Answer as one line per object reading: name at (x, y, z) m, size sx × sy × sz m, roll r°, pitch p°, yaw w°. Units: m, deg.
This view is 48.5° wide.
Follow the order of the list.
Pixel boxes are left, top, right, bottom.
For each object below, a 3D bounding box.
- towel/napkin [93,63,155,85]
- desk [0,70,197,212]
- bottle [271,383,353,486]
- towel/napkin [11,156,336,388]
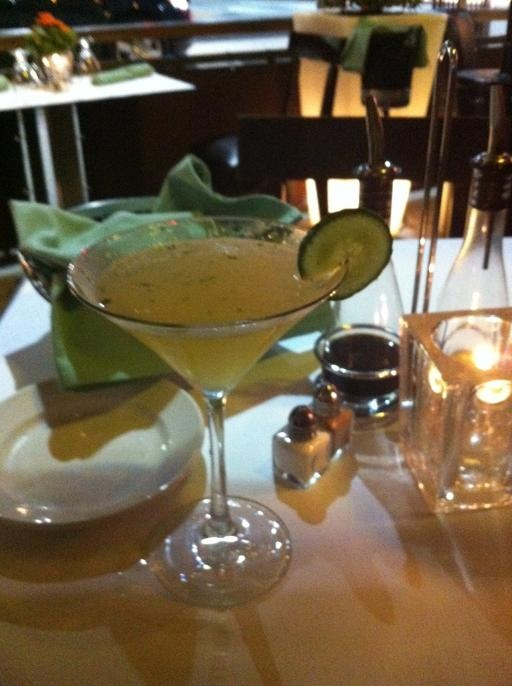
towel/napkin at (-0.539, -1.096, 2.309) m, size 0.237 × 0.049 × 0.134 m, roll -8°, pitch 11°, yaw -18°
desk at (-0.734, -0.957, 2.458) m, size 0.774 × 0.649 × 0.709 m, roll -12°, pitch 34°, yaw -20°
bottle at (0.071, 0.118, 0.697) m, size 0.052 × 0.082 × 0.098 m, roll 22°, pitch 38°, yaw 32°
towel/napkin at (-0.224, -0.090, 0.957) m, size 0.494 × 0.157 × 0.441 m, roll -9°, pitch 37°, yaw -15°
